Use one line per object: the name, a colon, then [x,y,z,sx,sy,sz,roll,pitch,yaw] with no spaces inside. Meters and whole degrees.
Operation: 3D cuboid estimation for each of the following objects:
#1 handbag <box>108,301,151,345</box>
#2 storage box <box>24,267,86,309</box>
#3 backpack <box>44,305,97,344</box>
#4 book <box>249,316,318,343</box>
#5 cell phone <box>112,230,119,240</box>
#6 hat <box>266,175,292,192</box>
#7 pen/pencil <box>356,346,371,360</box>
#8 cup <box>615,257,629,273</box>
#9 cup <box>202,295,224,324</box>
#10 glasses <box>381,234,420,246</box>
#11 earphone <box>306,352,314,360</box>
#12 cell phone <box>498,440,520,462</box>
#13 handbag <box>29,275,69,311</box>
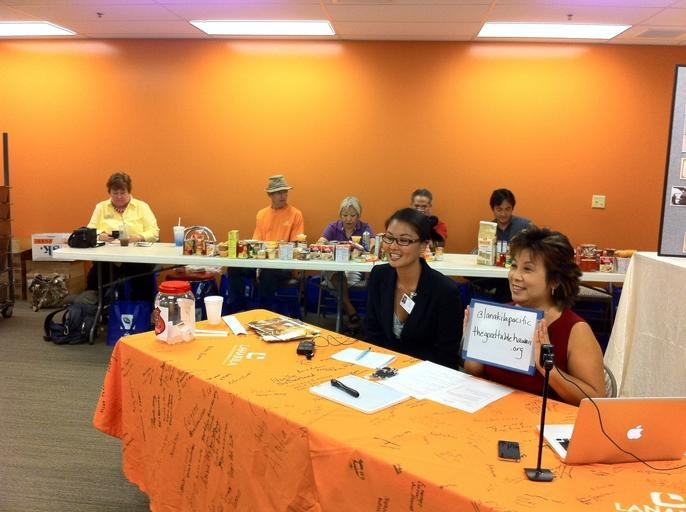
handbag: [-1.838,0.569,4.492,0.448,0.395,0.158,0,0,1]
storage box: [-3.491,0.346,6.316,0.691,0.480,0.678,1,9,10]
backpack: [-2.702,0.683,5.206,0.471,0.172,0.450,0,10,8]
book: [-0.352,0.421,2.936,0.203,0.024,0.223,-8,16,-33]
cell phone: [-2.382,-0.215,5.500,0.085,0.075,0.082,0,5,1]
hat: [-0.730,-0.793,5.826,0.268,0.132,0.259,-8,6,28]
pen/pencil: [0.102,0.504,2.657,0.025,0.019,0.135,9,18,20]
cup: [2.423,0.082,4.541,0.095,0.132,0.085,5,15,21]
cup: [-0.745,0.314,3.082,0.163,0.164,0.157,-1,2,0]
glasses: [0.321,-0.090,3.029,0.202,0.055,0.068,6,15,25]
earphone: [-0.169,0.505,2.610,0.029,0.016,0.036,-3,-6,4]
cell phone: [0.603,0.713,1.896,0.084,0.029,0.088,3,14,14]
handbag: [-3.476,0.416,6.155,0.481,0.525,0.196,7,-2,-37]
